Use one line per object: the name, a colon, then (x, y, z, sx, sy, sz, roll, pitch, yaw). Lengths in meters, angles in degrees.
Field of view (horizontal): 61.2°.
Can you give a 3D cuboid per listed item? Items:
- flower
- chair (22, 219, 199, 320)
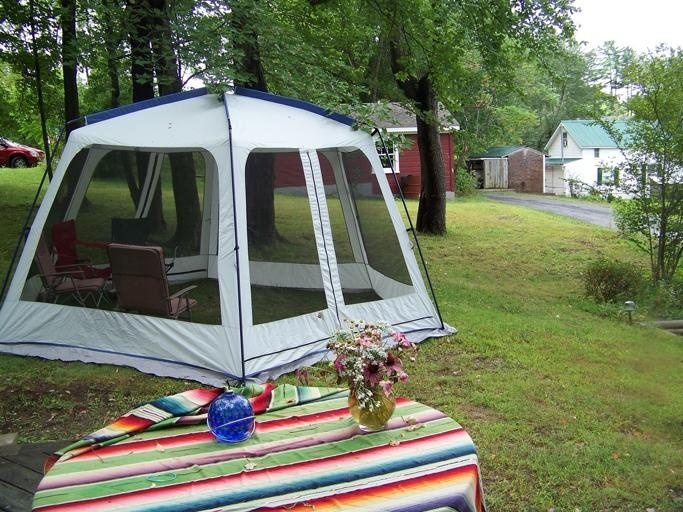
flower: (0.123, 0.821, 3.881, 0.866, 0.551, 0.669, -4, 7, 2)
chair: (-2.772, 0.159, 6.873, 2.224, 0.947, 0.912, 10, 17, 31)
